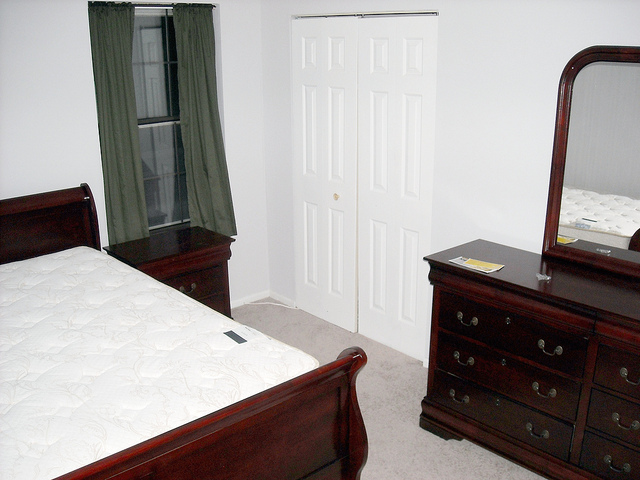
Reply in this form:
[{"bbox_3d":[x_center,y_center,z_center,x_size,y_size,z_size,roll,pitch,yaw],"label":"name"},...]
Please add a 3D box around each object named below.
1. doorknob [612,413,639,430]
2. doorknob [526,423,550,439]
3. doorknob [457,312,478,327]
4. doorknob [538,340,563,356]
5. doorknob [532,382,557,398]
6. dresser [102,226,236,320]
[{"bbox_3d":[1.522,0.910,2.422,0.090,0.050,0.054,12,20,33],"label":"doorknob"},{"bbox_3d":[1.211,1.070,2.712,0.060,0.043,0.096,1,10,3],"label":"doorknob"},{"bbox_3d":[0.876,0.469,2.902,0.098,0.054,0.057,-4,15,-38],"label":"doorknob"},{"bbox_3d":[1.237,0.564,2.606,0.077,0.044,0.076,-12,22,-31],"label":"doorknob"},{"bbox_3d":[1.217,0.817,2.655,0.058,0.054,0.099,-11,14,-42],"label":"doorknob"},{"bbox_3d":[-1.237,0.143,3.957,0.716,0.889,0.825,15,21,42],"label":"dresser"}]
